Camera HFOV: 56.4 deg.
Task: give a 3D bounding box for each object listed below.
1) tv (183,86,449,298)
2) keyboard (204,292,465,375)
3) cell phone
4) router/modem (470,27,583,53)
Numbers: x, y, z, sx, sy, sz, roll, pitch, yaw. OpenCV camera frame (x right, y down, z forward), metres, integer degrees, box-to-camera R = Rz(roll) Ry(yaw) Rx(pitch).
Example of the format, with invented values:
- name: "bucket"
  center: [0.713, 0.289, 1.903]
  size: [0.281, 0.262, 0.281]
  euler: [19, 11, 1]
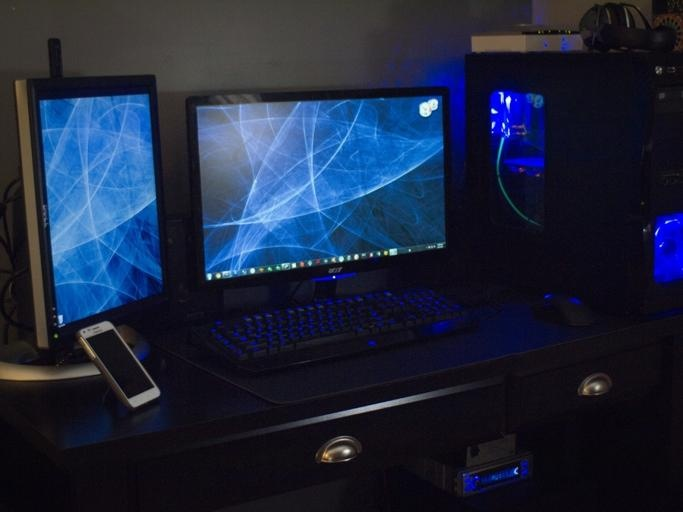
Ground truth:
- name: "tv"
  center: [-0.048, -0.186, 1.723]
  size: [0.733, 0.513, 0.063]
  euler: [-7, 20, -13]
- name: "keyboard"
  center: [0.037, 0.178, 1.600]
  size: [0.625, 0.075, 0.319]
  euler: [-9, 14, -15]
- name: "cell phone"
  center: [-0.467, 0.223, 1.325]
  size: [0.226, 0.031, 0.108]
  euler: [47, 33, 19]
- name: "router/modem"
  center: [0.544, -0.638, 1.904]
  size: [0.326, 0.070, 0.209]
  euler: [2, 18, 24]
